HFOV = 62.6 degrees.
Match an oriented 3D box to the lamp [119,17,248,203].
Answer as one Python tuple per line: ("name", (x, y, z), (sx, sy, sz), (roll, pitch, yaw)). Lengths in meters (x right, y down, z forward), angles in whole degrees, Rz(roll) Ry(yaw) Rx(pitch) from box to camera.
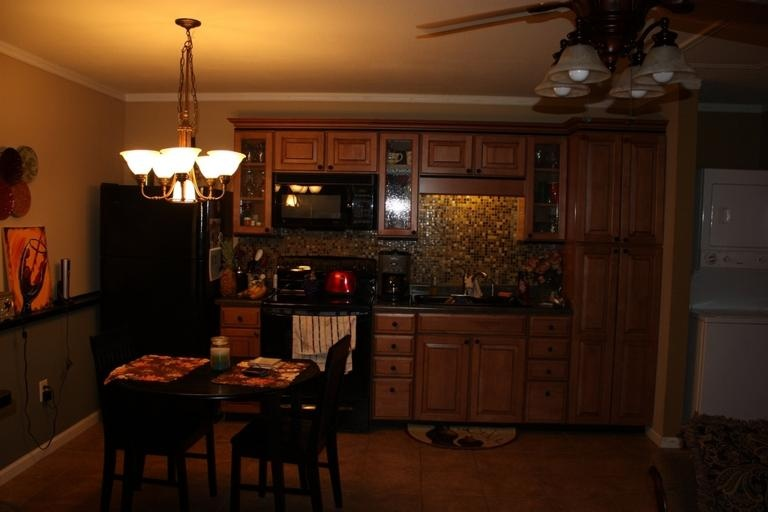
("lamp", (-1.629, -1.132, 5.323), (0.854, 1.373, 2.317), (-1, 5, -16))

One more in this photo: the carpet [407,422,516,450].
("carpet", (0.713, 1.637, 5.748), (1.013, 0.085, 0.408), (1, 5, 4))

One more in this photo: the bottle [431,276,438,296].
("bottle", (0.506, 0.289, 6.301), (0.054, 0.188, 0.067), (1, 5, 3))

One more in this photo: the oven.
("oven", (-0.569, 1.060, 6.153), (1.300, 1.423, 1.002), (-1, -3, 5))

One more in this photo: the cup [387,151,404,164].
("cup", (0.110, -0.934, 6.024), (0.156, 0.140, 0.092), (3, 5, 2))

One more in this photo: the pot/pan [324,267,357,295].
("pot/pan", (-0.414, 0.243, 6.168), (0.257, 0.203, 0.235), (1, 7, 10))

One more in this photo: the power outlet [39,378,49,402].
("power outlet", (-2.895, 1.146, 5.376), (0.029, 0.197, 0.098), (2, 5, 20))

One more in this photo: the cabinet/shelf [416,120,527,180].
("cabinet/shelf", (0.843, -0.967, 5.956), (0.958, 0.404, 0.163), (0, 5, -7))

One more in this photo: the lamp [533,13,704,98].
("lamp", (1.384, -1.180, 3.706), (0.785, 0.312, 0.551), (4, 4, 17))

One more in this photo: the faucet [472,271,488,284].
("faucet", (0.960, 0.205, 6.293), (0.221, 0.116, 0.117), (1, -29, 2))

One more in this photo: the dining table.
("dining table", (-1.250, 1.283, 4.409), (1.589, 0.745, 0.843), (2, 10, 5))

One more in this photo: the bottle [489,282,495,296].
("bottle", (1.085, 0.322, 6.282), (0.060, 0.123, 0.050), (2, 5, 11))
